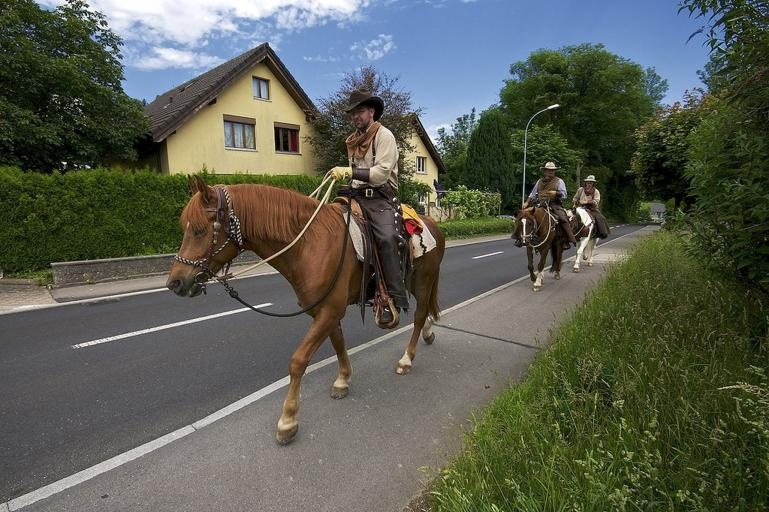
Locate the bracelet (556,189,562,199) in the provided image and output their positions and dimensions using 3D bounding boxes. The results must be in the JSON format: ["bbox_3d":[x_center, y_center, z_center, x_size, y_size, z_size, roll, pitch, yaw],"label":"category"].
[{"bbox_3d":[4.782,-1.739,12.940,0.173,0.107,0.251,1,-7,12],"label":"bracelet"}]

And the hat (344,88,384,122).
[{"bbox_3d":[-0.362,-2.261,6.798,0.454,0.317,0.551,10,18,27],"label":"hat"}]

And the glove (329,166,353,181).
[{"bbox_3d":[-0.570,-1.121,6.350,0.242,0.123,0.190,4,5,-17],"label":"glove"}]

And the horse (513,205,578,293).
[{"bbox_3d":[4.110,-0.328,12.616,1.020,2.086,2.221,5,9,27],"label":"horse"}]
